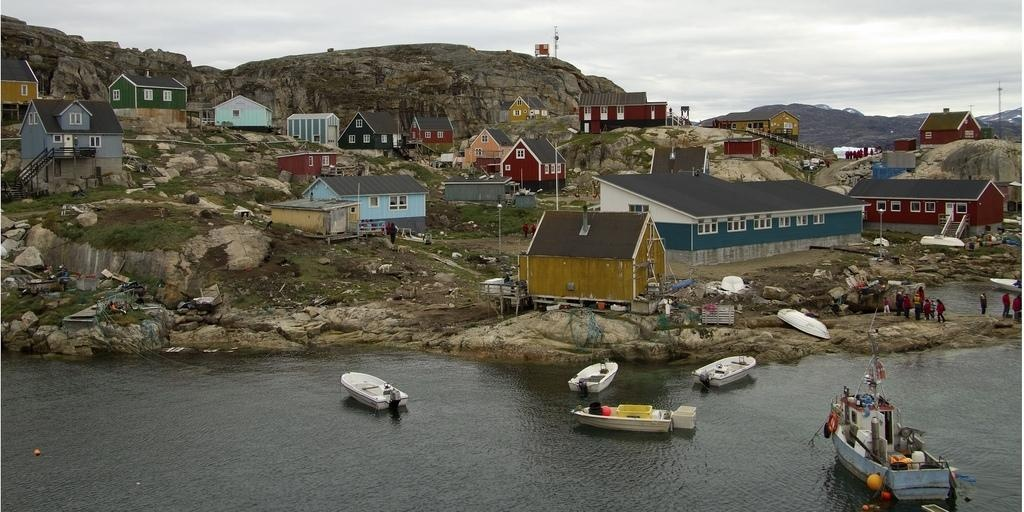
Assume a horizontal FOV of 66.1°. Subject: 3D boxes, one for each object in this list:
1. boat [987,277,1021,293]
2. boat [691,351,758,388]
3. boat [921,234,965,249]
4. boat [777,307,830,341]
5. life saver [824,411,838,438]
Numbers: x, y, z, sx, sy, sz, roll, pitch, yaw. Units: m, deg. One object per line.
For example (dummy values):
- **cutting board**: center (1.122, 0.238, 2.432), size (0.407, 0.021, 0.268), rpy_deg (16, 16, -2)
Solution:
- **boat**: center (50.926, 2.944, 81.528), size (1.290, 0.571, 2.611), rpy_deg (-15, 19, -27)
- **boat**: center (17.689, 9.422, 65.273), size (4.971, 1.517, 2.267), rpy_deg (-17, 28, -34)
- **boat**: center (50.396, -1.695, 92.563), size (3.716, 1.012, 2.001), rpy_deg (4, 7, 20)
- **boat**: center (25.800, 5.997, 69.936), size (3.675, 0.876, 2.483), rpy_deg (25, 32, 32)
- **life saver**: center (23.052, 12.258, 57.176), size (0.655, 1.621, 1.318), rpy_deg (14, -5, 1)
